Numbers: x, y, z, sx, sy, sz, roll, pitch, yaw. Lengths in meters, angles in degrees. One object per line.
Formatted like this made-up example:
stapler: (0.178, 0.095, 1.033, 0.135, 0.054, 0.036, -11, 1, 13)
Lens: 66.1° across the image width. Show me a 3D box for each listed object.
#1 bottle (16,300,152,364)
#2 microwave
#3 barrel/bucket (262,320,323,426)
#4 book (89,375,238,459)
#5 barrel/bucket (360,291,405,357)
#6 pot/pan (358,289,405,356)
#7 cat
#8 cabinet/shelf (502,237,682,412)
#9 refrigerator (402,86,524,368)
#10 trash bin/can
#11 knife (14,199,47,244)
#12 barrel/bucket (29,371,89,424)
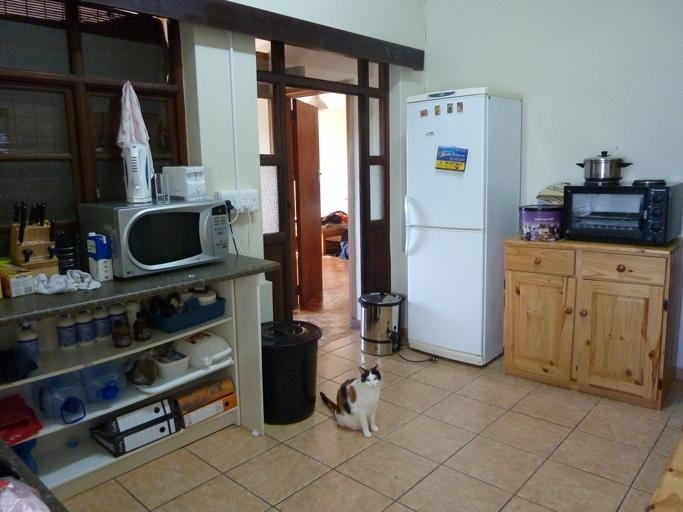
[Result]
bottle: (-1.339, 0.461, 2.905, 0.318, 0.164, 0.457, 18, 23, 38)
microwave: (-1.101, -0.260, 3.032, 0.494, 0.399, 0.664, 9, 14, 39)
barrel/bucket: (-0.321, 0.753, 3.565, 0.545, 0.527, 0.546, 0, 10, 0)
book: (-1.029, 0.939, 3.067, 0.421, 0.102, 0.419, -7, 12, 35)
barrel/bucket: (0.332, 0.570, 4.619, 0.427, 0.453, 0.446, -1, 10, 0)
pot/pan: (0.332, 0.563, 4.612, 0.433, 0.394, 0.448, -8, 13, -33)
cat: (-0.022, 0.928, 3.340, 0.203, 0.386, 0.565, -4, 2, -43)
cabinet/shelf: (1.772, 0.476, 3.632, 1.063, 1.078, 0.534, 5, 7, 37)
refrigerator: (0.964, -0.229, 4.211, 0.913, 2.114, 0.626, 0, 13, 14)
trash bin/can: (-0.329, 0.749, 3.581, 0.545, 0.526, 0.545, -1, 10, -5)
knife: (-1.740, -0.209, 2.946, 0.173, 0.211, 0.292, -10, 15, -28)
barrel/bucket: (-1.478, 0.723, 2.853, 0.275, 0.267, 0.201, 13, 13, 27)
